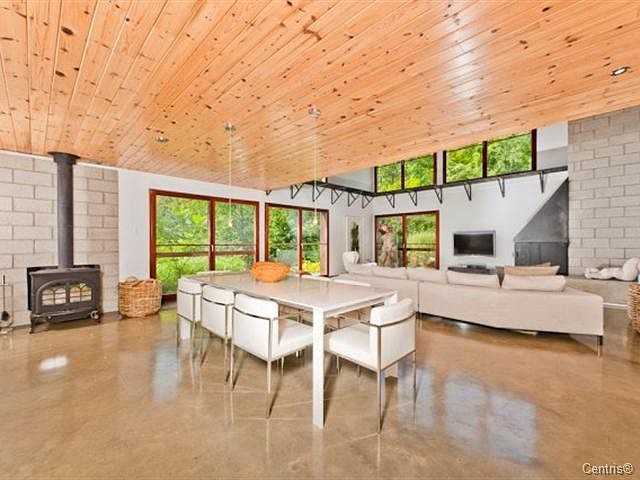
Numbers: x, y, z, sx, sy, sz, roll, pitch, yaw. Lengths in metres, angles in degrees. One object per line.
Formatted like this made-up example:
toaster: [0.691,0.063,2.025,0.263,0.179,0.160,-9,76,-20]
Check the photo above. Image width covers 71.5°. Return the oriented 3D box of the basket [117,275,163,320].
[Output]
basket: [-2.777,0.829,6.843,0.460,0.555,0.610,5,4,32]

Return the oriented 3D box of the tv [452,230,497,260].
tv: [3.234,0.021,9.186,0.071,0.446,0.673,5,-5,-44]
